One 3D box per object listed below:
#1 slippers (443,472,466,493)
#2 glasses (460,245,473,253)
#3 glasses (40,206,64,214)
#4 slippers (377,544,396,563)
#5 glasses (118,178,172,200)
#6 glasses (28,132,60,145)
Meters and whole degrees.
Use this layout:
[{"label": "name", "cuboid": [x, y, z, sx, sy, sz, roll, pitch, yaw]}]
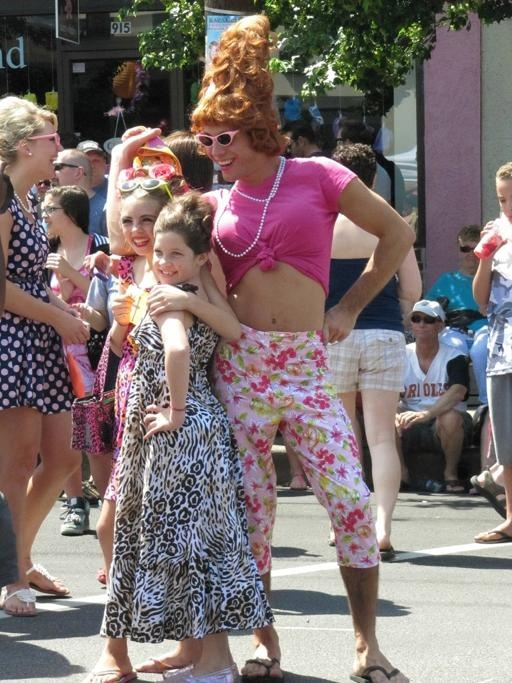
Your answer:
[{"label": "slippers", "cuboid": [1.440, 1.032, 6.993, 0.157, 0.130, 0.132, 1, 5, 5]}, {"label": "glasses", "cuboid": [1.917, -0.846, 8.803, 0.086, 0.070, 0.027, 5, 9, 18]}, {"label": "glasses", "cuboid": [-1.157, -0.738, 5.394, 0.075, 0.017, 0.067, 3, -1, -21]}, {"label": "slippers", "cuboid": [0.652, 1.077, 4.875, 0.098, 0.084, 0.239, -1, -11, 5]}, {"label": "glasses", "cuboid": [-0.365, -0.514, 3.178, 0.116, 0.028, 0.096, -1, -37, 12]}, {"label": "glasses", "cuboid": [-0.876, -0.843, 3.987, 0.091, 0.022, 0.079, -2, 3, 5]}]
